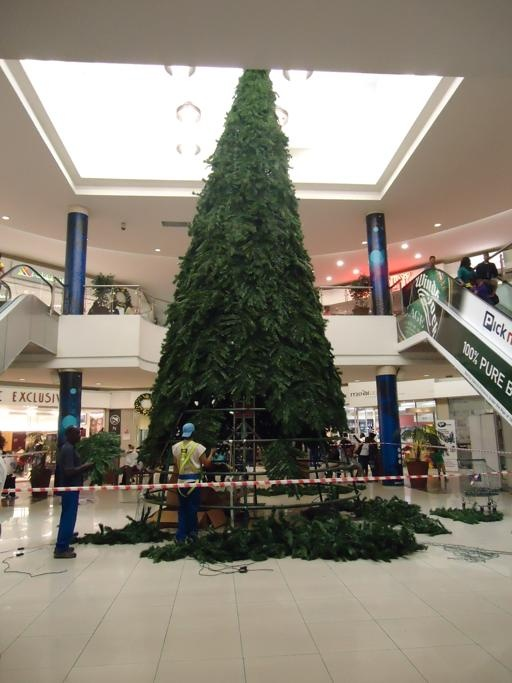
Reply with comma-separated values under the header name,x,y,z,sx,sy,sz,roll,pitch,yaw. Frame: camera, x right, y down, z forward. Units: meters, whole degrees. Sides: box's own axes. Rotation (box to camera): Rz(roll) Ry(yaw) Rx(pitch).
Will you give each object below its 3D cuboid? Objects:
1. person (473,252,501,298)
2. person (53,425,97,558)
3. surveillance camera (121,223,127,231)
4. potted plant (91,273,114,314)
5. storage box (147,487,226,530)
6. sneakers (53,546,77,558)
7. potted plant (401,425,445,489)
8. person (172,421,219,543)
name,x,y,z,sx,sy,sz,roll,pitch,yaw
person,4.544,-1.133,9.231,0.474,1.238,0.395,-1,24,25
person,-2.349,1.874,5.987,0.427,1.483,1.802,2,-12,-21
surveillance camera,-4.147,-3.672,14.842,0.167,0.154,0.289,4,-11,-13
potted plant,-4.124,-1.307,12.480,0.552,1.431,1.390,2,-12,-18
storage box,-1.025,2.428,6.719,1.058,0.320,1.019,-4,-13,12
sneakers,-2.162,2.411,5.306,0.194,0.057,0.119,1,-7,-4
potted plant,4.399,3.127,12.358,0.945,1.339,1.015,7,-17,20
person,-0.765,1.695,5.652,0.474,1.366,0.533,-1,-12,-8
